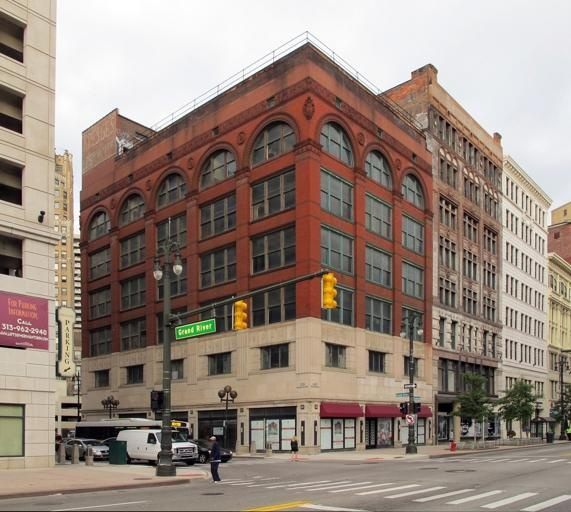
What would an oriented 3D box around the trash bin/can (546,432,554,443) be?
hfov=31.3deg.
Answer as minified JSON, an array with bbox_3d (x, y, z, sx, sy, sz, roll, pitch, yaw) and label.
[{"bbox_3d":[24.949,17.133,96.225,0.888,1.192,0.891,-1,-10,10],"label":"trash bin/can"}]

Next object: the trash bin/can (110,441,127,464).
[{"bbox_3d":[-10.103,11.871,61.282,0.922,1.447,0.805,1,-19,-6],"label":"trash bin/can"}]

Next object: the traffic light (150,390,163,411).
[{"bbox_3d":[-6.858,7.752,54.585,0.658,1.149,1.360,2,-20,-8],"label":"traffic light"}]

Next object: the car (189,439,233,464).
[{"bbox_3d":[-5.098,12.357,64.658,1.144,0.972,2.487,8,-17,-40],"label":"car"}]
